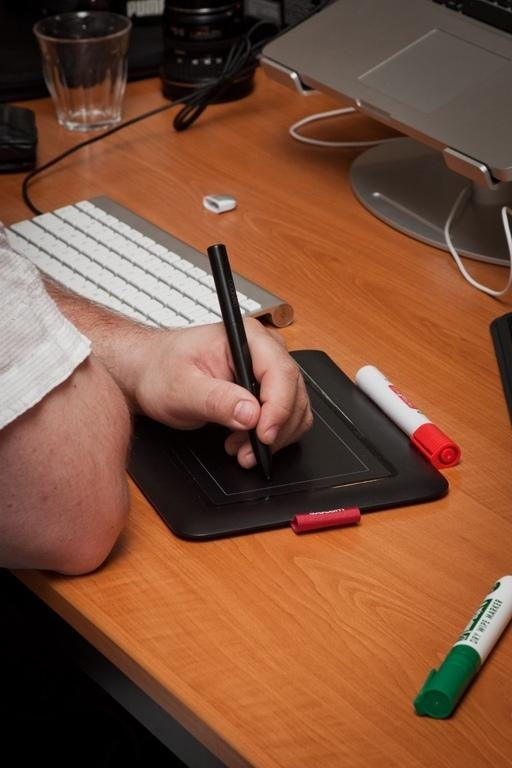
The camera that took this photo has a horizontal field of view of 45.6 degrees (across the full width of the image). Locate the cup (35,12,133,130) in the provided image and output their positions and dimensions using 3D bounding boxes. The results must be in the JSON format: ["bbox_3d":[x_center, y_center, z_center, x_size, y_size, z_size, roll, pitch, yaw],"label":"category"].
[{"bbox_3d":[-0.246,-0.455,0.957,0.161,0.178,0.137,-14,49,-16],"label":"cup"}]

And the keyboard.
[{"bbox_3d":[-0.119,-0.108,0.569,0.129,0.030,0.290,-26,51,-37],"label":"keyboard"}]
